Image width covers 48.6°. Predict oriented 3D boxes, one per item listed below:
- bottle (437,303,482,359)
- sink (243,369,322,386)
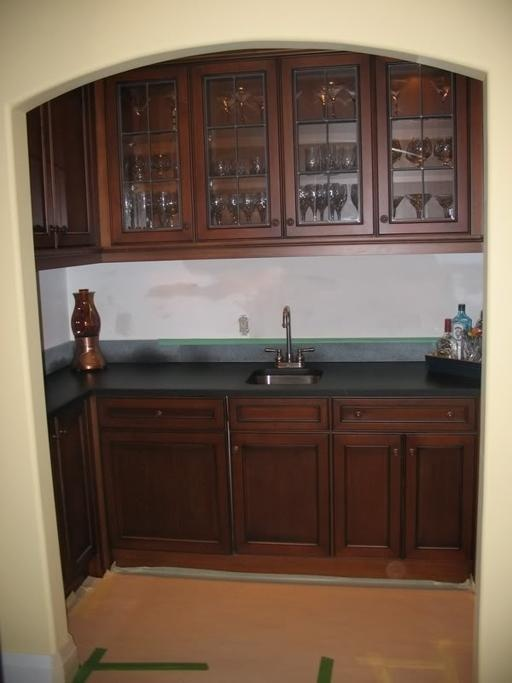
[{"bbox_3d":[1.009,-0.046,2.835,0.209,0.259,0.235,0,6,18],"label":"bottle"},{"bbox_3d":[0.147,0.193,3.059,0.391,0.092,0.206,-2,6,-8],"label":"sink"}]
